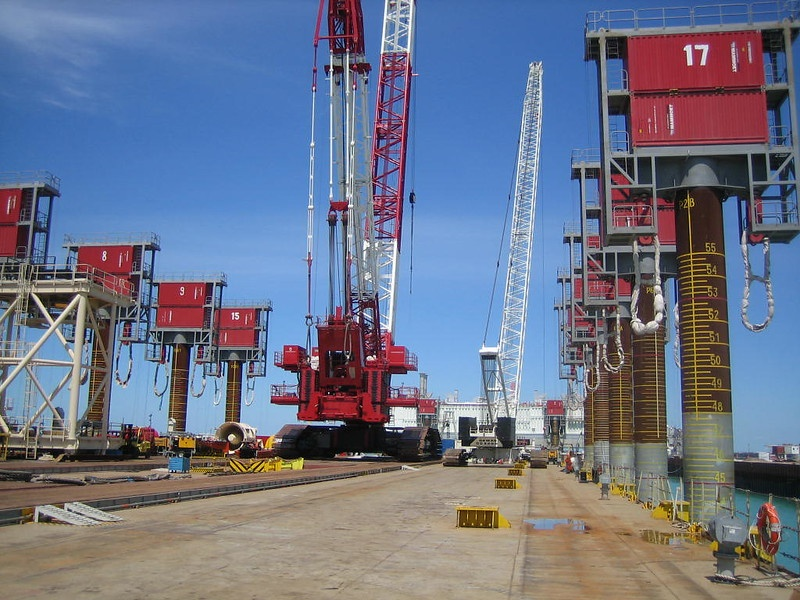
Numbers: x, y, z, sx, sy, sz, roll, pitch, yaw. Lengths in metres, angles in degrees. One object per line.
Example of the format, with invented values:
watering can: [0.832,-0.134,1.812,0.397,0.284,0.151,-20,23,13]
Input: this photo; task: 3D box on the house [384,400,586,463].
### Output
house: [10.707,26.712,169.080,8.653,12.667,54.521,-10,-1,-29]

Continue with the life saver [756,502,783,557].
life saver: [9.773,6.022,21.260,0.545,1.390,1.404,-3,-10,21]
